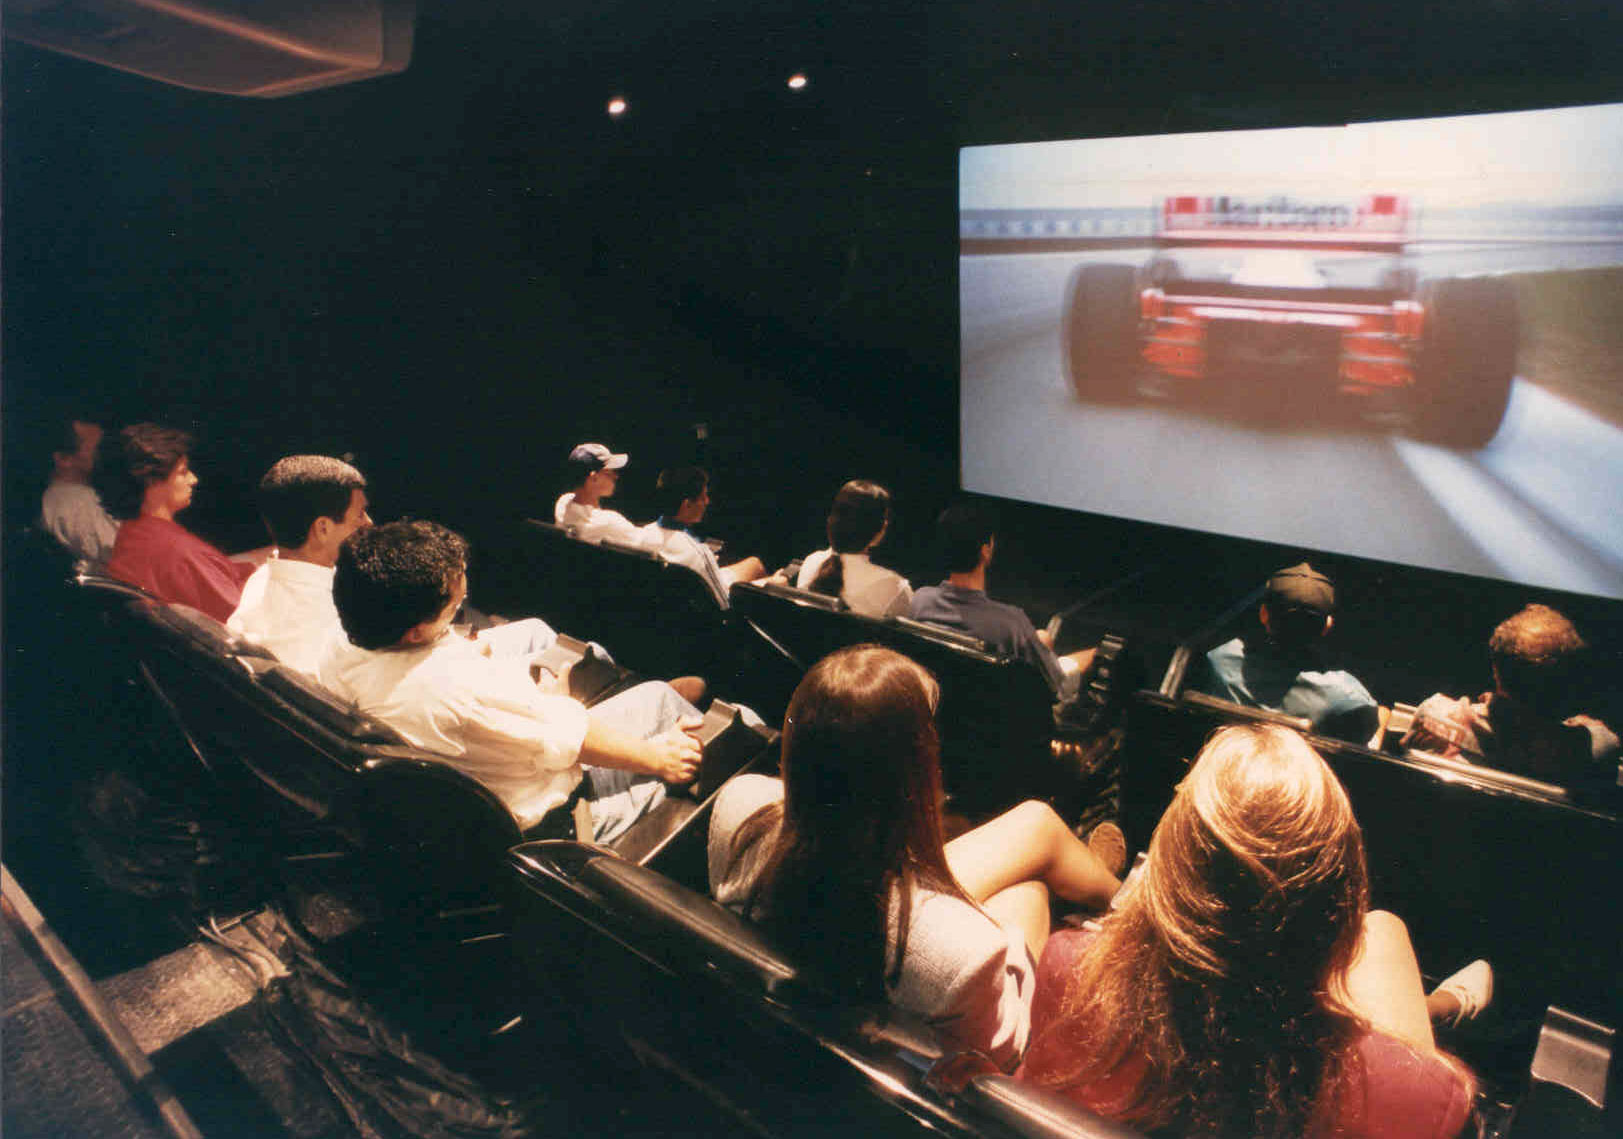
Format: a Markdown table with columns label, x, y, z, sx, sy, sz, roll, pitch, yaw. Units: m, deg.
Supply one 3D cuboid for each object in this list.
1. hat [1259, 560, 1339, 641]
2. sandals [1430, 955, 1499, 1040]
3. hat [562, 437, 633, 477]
| label | x | y | z | sx | sy | sz | roll | pitch | yaw |
| --- | --- | --- | --- | --- | --- | --- | --- | --- | --- |
| hat | 1.374 | 0.083 | 3.302 | 0.169 | 0.204 | 0.232 | 11 | 27 | 17 |
| sandals | 1.412 | 0.925 | 2.496 | 0.062 | 0.184 | 0.073 | 42 | 4 | 22 |
| hat | -0.566 | -0.297 | 3.104 | 0.059 | 0.083 | 0.216 | 13 | -2 | 29 |
